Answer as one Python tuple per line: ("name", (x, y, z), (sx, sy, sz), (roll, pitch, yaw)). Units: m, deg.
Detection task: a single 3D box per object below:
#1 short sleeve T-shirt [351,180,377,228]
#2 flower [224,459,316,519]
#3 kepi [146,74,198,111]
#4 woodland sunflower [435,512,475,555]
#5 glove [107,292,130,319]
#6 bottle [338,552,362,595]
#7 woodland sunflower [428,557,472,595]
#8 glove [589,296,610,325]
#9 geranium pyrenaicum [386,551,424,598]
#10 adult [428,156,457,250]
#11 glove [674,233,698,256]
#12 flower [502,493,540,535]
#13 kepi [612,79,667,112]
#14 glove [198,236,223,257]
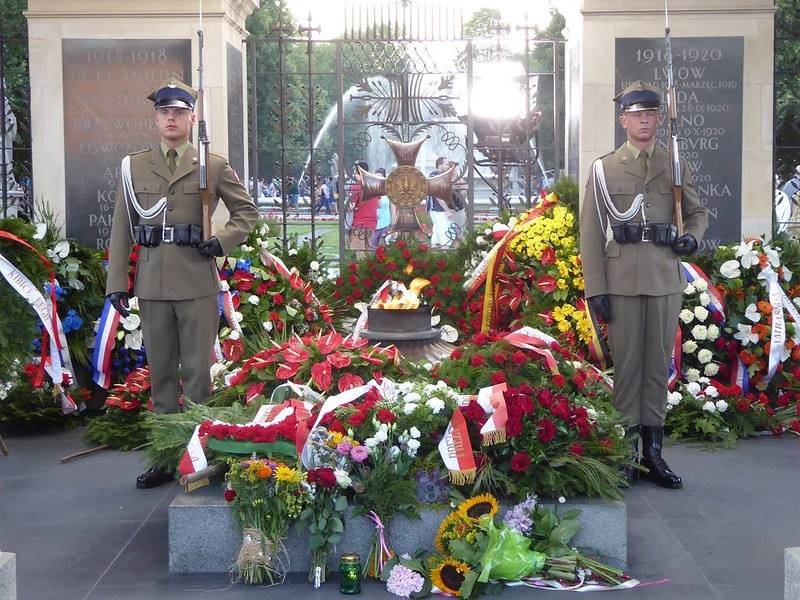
("short sleeve T-shirt", (-0.399, -1.080, 10.058), (0.402, 0.383, 0.631), (0, 40, -3))
("flower", (-0.729, 1.031, 4.893), (0.337, 0.256, 0.346), (7, 5, -4))
("kepi", (-1.509, -1.403, 6.111), (0.327, 0.212, 0.247), (-7, 14, -28))
("woodland sunflower", (0.289, 1.236, 4.810), (0.200, 0.106, 0.195), (-26, 39, -35))
("glove", (-1.909, 0.028, 6.145), (0.134, 0.182, 0.060), (-17, -6, -13))
("bottle", (-0.254, 1.433, 4.716), (0.164, 0.227, 0.168), (1, -2, 0))
("woodland sunflower", (0.249, 1.455, 4.722), (0.214, 0.174, 0.094), (6, 13, 27))
("glove", (1.357, 0.057, 6.077), (0.061, 0.178, 0.127), (-17, -19, 20))
("geranium pyrenaicum", (0.029, 1.458, 4.767), (0.173, 0.103, 0.180), (5, 9, 1))
("adult", (0.509, -1.185, 10.492), (0.340, 1.070, 0.307), (-11, 36, -12))
("glove", (1.890, -0.371, 5.989), (0.066, 0.116, 0.151), (-36, 16, -21))
("flower", (0.660, 1.154, 4.911), (0.190, 0.124, 0.190), (0, 4, -35))
("kepi", (1.584, -1.379, 6.043), (0.297, 0.201, 0.200), (3, 12, 17))
("glove", (-1.272, -0.369, 6.057), (0.154, 0.153, 0.116), (-7, 5, 5))
